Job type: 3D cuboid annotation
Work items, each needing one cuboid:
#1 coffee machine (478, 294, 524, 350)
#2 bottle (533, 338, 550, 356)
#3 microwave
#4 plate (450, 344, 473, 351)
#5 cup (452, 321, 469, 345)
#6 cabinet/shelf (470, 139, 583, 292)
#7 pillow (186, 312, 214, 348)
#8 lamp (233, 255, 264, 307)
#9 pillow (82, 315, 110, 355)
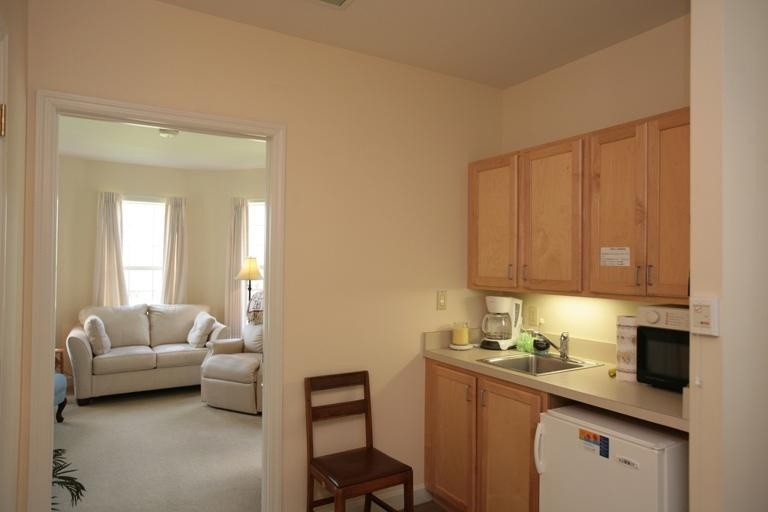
[{"bbox_3d":[0.893,0.510,4.180,0.386,0.492,0.322,5,-6,-24],"label":"coffee machine"},{"bbox_3d":[1.158,0.675,3.994,0.113,0.107,0.116,1,-7,-6],"label":"bottle"},{"bbox_3d":[1.792,0.560,3.341,0.349,0.513,0.362,1,1,-29],"label":"microwave"},{"bbox_3d":[0.591,0.697,4.193,0.180,0.043,0.128,1,5,4],"label":"plate"},{"bbox_3d":[0.578,0.604,4.168,0.156,0.151,0.119,0,-4,0],"label":"cup"},{"bbox_3d":[1.137,-0.235,4.067,0.467,1.072,1.100,0,-1,-36],"label":"cabinet/shelf"},{"bbox_3d":[-2.325,0.938,6.861,0.248,0.417,0.484,6,3,-32],"label":"pillow"},{"bbox_3d":[-1.851,0.333,7.488,0.358,0.625,0.671,-1,5,-15],"label":"lamp"},{"bbox_3d":[-3.341,0.933,6.359,0.244,0.471,0.473,-14,7,-28],"label":"pillow"}]
